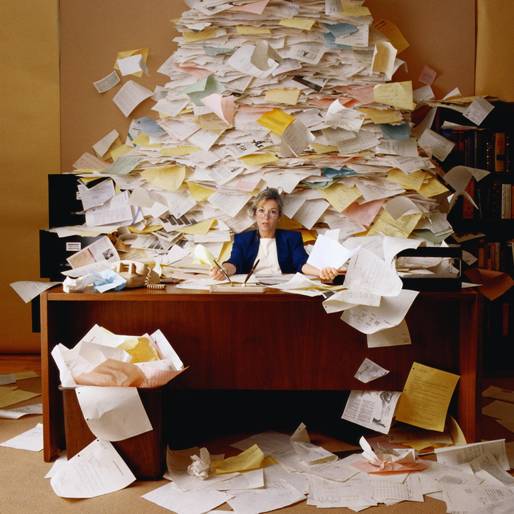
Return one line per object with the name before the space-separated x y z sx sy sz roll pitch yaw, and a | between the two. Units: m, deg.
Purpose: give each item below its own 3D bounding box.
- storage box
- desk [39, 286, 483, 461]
storage box | -0.499 0.513 1.766 0.236 0.180 0.167 -9 -14 -40
desk | -0.025 0.418 1.960 1.568 0.527 0.578 -5 -12 24
